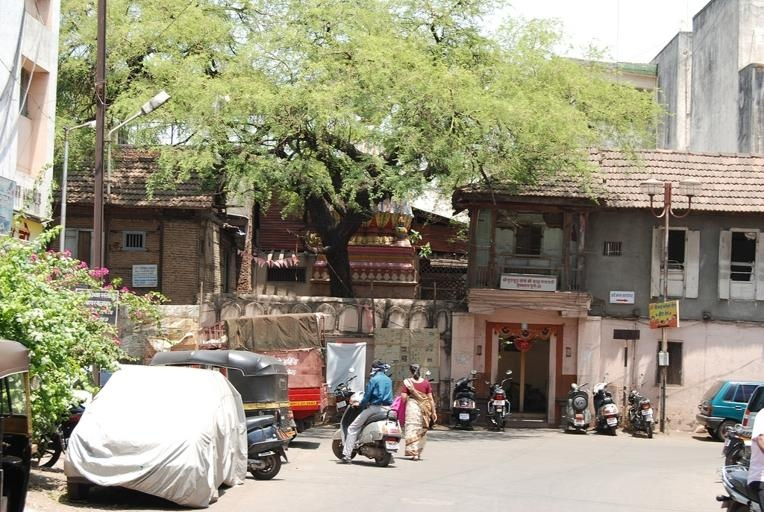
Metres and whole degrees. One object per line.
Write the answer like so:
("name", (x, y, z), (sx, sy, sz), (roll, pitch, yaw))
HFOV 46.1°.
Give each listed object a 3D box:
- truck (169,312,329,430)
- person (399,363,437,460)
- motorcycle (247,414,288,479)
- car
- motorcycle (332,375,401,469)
("truck", (-3.120, 3.527, 26.746), (4.609, 3.512, 2.830), (-3, -12, 27))
("person", (0.857, 3.933, 22.406), (0.783, 1.610, 0.673), (3, -1, -10))
("motorcycle", (-2.570, 4.247, 19.751), (0.860, 1.058, 0.657), (3, -2, -11))
("car", (11.151, 4.767, 28.186), (2.518, 1.334, 1.487), (-7, 0, -3))
("motorcycle", (-0.421, 3.929, 21.723), (1.907, 1.565, 0.775), (1, -2, 40))
